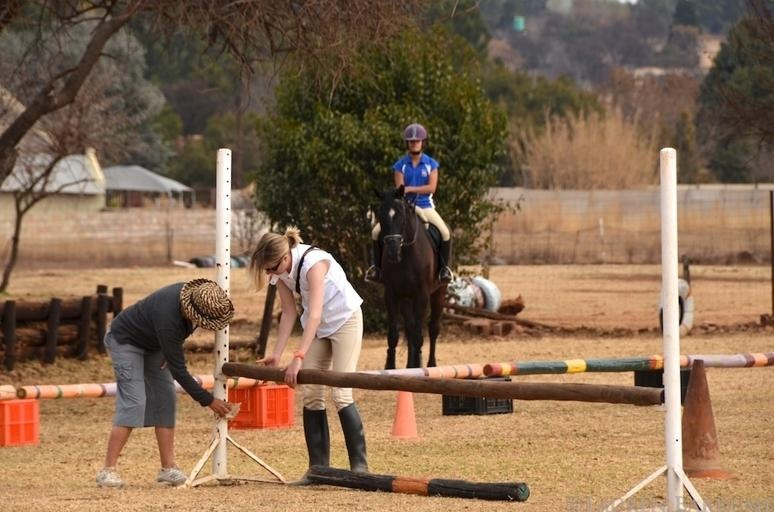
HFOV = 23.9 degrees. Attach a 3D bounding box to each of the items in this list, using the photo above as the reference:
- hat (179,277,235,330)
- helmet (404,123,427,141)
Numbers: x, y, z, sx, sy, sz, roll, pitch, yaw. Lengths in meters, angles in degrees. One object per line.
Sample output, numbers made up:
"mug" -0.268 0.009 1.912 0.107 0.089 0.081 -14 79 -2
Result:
"hat" -4.120 1.075 41.845 1.131 1.195 0.425 -32 2 -44
"helmet" 0.719 -3.192 47.049 0.543 0.456 0.500 -2 2 -1
